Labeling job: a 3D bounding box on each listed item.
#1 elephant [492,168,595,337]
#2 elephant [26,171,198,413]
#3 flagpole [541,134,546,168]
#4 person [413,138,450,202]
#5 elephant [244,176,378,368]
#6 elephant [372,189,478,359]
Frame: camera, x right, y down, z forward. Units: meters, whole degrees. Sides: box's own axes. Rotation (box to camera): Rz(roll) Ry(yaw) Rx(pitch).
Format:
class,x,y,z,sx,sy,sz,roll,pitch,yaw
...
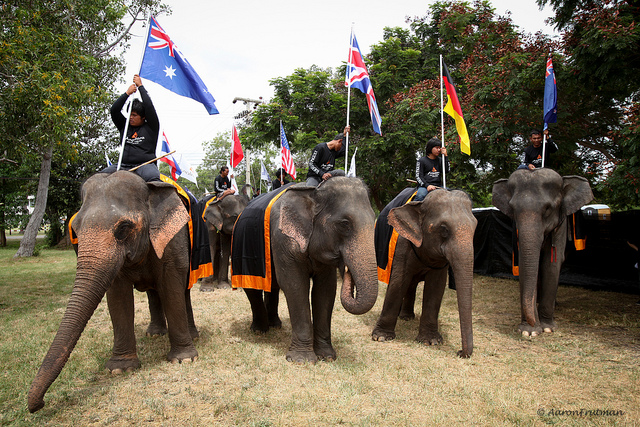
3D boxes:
class,x,y,z,sx,sy,sz,roll,pitch,yaw
elephant,5.294,0.827,10.920,2.042,3.658,3.724,0,1,35
elephant,-3.356,1.064,8.463,2.193,3.424,4.466,-4,1,3
flagpole,5.089,-1.457,10.452,0.071,0.722,0.223,6,14,25
person,2.398,-0.756,10.210,0.972,1.839,0.851,0,8,5
elephant,-0.431,1.106,9.372,1.768,3.453,4.190,-3,1,-36
elephant,2.137,1.138,10.036,1.864,3.221,3.795,1,-1,-16
